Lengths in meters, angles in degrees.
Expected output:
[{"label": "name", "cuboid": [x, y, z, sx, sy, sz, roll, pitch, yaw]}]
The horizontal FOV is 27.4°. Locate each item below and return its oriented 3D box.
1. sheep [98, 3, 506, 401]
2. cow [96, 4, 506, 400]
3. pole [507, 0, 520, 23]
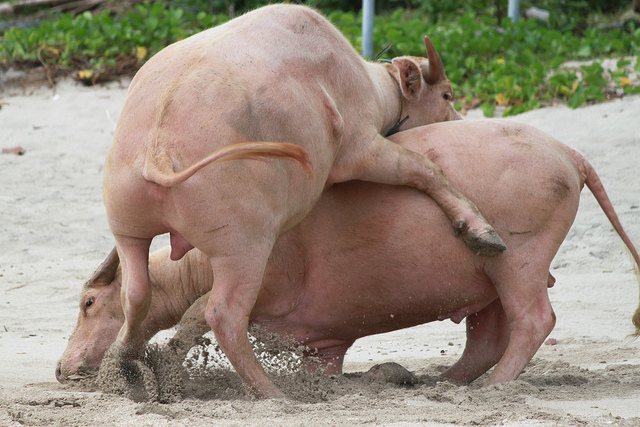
[{"label": "sheep", "cuboid": [0.528, -0.425, 12.393, 4.484, 2.954, 2.580, -22, 32, -38]}, {"label": "cow", "cuboid": [0.282, -0.599, 12.691, 4.474, 2.984, 2.554, -22, 31, -40]}, {"label": "pole", "cuboid": [2.951, -3.078, 19.921, 0.148, 0.256, 0.276, -3, 25, 4]}]
